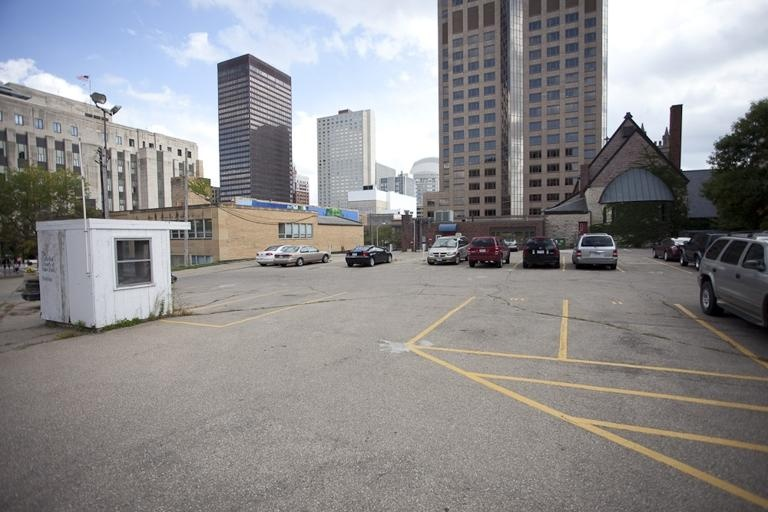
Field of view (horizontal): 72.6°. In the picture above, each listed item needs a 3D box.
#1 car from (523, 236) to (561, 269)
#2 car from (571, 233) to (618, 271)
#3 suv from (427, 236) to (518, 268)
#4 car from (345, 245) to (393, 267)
[{"bbox_3d":[7.854,-0.122,26.245,1.700,1.492,1.496,0,5,14],"label":"car"},{"bbox_3d":[10.317,-0.257,25.686,1.330,1.196,2.613,0,9,19],"label":"car"},{"bbox_3d":[4.569,-0.256,29.447,3.671,1.671,5.693,-2,5,-14],"label":"suv"},{"bbox_3d":[-0.879,0.005,31.677,1.278,1.173,3.174,1,5,29],"label":"car"}]
